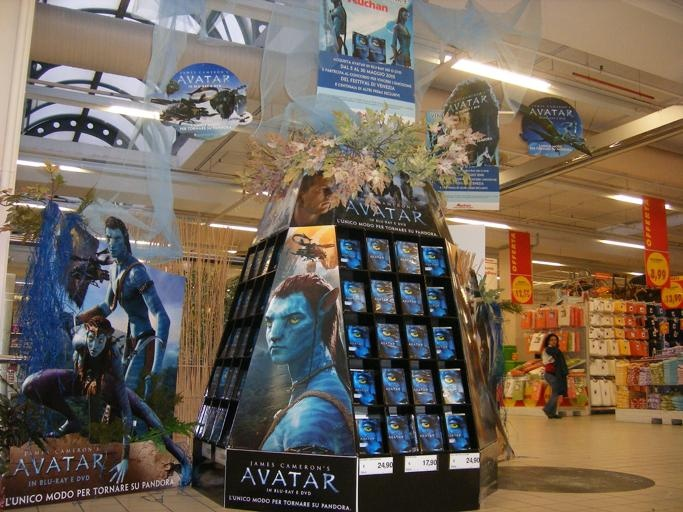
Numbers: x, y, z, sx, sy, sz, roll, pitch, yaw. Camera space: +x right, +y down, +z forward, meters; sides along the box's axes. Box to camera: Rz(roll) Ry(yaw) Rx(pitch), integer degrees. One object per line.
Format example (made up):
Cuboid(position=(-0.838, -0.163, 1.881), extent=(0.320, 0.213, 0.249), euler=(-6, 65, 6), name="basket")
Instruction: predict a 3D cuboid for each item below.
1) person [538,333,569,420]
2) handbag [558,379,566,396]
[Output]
Cuboid(position=(4.603, 2.563, 10.997), extent=(0.548, 1.808, 0.648), euler=(-3, -13, 13), name="person")
Cuboid(position=(4.763, 2.823, 10.987), extent=(0.172, 0.329, 0.545), euler=(-6, -13, 25), name="handbag")
